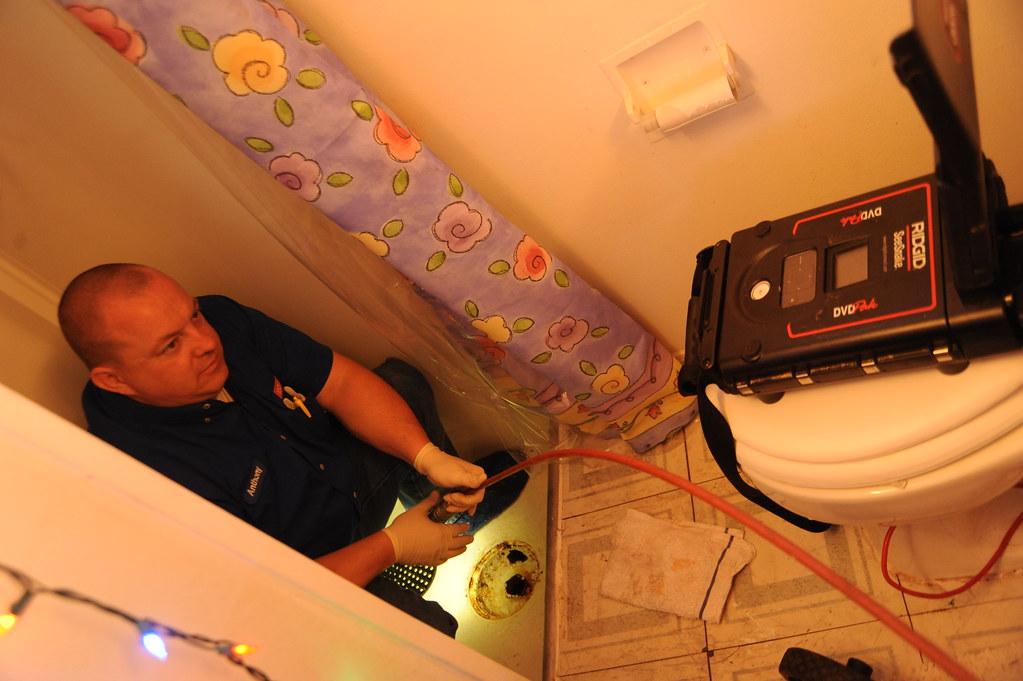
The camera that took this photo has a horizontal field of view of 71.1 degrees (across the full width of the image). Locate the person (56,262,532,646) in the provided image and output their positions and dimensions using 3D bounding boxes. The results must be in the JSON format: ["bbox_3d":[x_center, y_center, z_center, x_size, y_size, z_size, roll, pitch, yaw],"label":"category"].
[{"bbox_3d":[-0.566,0.201,1.747,0.678,1.090,0.485,-34,8,-10],"label":"person"}]

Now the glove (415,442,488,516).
[{"bbox_3d":[-0.157,0.352,1.788,0.115,0.171,0.144,-46,-22,-52],"label":"glove"}]
